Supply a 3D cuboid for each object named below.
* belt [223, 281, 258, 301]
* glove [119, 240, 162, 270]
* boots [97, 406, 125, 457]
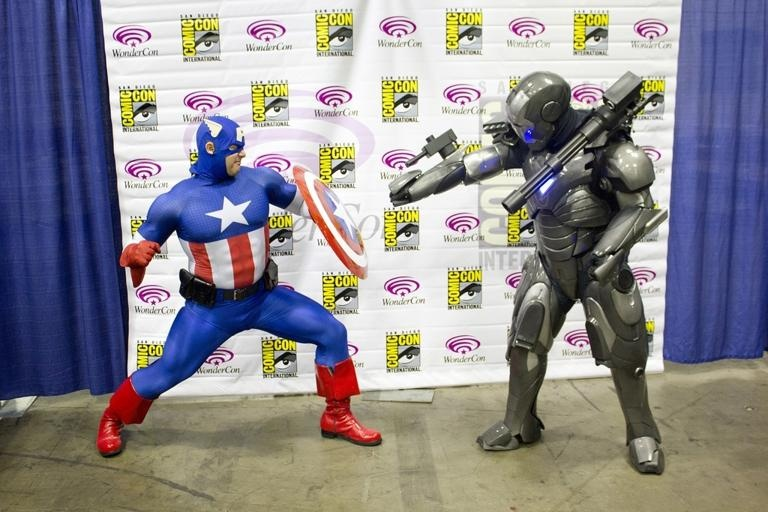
[{"bbox_3d":[-0.999,0.265,4.899,0.268,0.093,0.044,-10,22,-20],"label":"belt"},{"bbox_3d":[-1.671,-0.004,4.816,0.121,0.124,0.209,-55,23,-14],"label":"glove"},{"bbox_3d":[-1.999,1.254,5.100,0.174,0.309,0.462,-2,16,-17],"label":"boots"}]
